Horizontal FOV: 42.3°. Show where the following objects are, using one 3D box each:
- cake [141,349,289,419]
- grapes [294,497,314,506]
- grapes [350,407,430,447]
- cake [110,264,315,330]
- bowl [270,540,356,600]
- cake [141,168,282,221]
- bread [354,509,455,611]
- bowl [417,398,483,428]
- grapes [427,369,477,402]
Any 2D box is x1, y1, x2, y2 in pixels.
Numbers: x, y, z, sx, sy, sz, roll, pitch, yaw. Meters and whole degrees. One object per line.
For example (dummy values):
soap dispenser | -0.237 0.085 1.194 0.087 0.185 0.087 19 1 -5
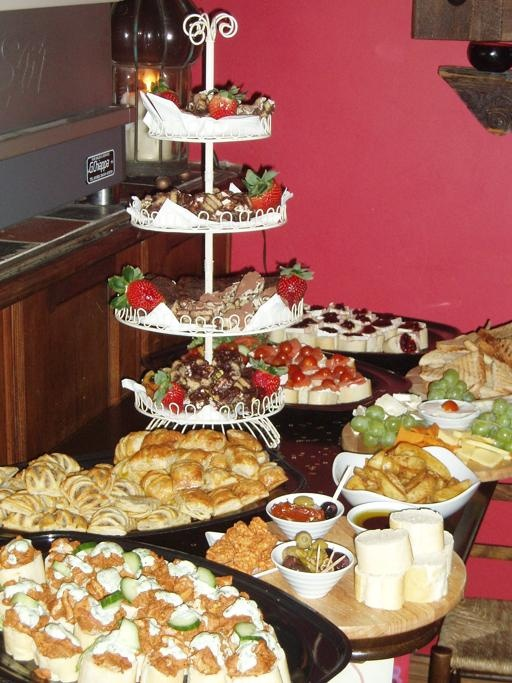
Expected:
cake | -0.083 0.078 1.375 0.198 0.051 0.172 -5 12 -22
grapes | 0.077 0.257 1.073 0.020 0.009 0.016 2 2 23
grapes | 0.327 0.195 1.542 0.217 0.078 0.174 -7 -3 32
cake | -0.102 -0.078 1.326 0.289 0.070 0.226 0 13 -4
bowl | 0.076 0.312 0.900 0.094 0.035 0.086 0 5 0
cake | -0.085 -0.278 1.298 0.256 0.071 0.141 0 22 -4
bread | 0.203 0.293 0.904 0.129 0.055 0.118 -5 17 -12
bowl | 0.477 0.159 1.616 0.097 0.037 0.095 -1 4 0
grapes | 0.524 0.126 1.795 0.098 0.032 0.097 -18 20 -38
